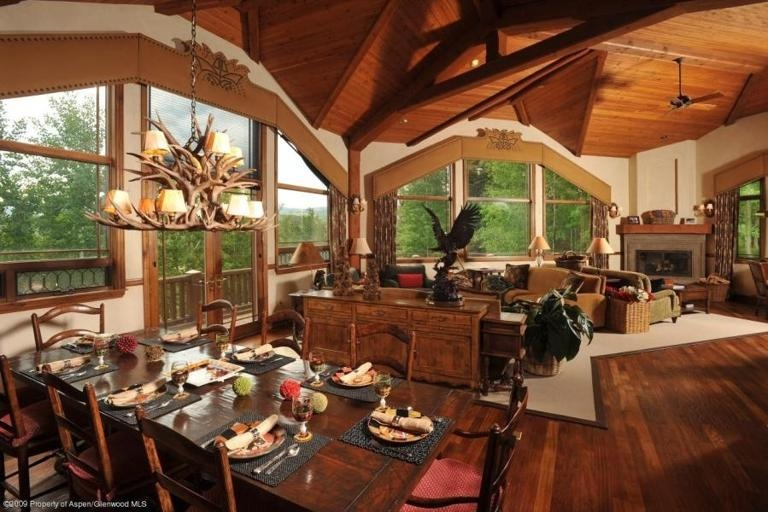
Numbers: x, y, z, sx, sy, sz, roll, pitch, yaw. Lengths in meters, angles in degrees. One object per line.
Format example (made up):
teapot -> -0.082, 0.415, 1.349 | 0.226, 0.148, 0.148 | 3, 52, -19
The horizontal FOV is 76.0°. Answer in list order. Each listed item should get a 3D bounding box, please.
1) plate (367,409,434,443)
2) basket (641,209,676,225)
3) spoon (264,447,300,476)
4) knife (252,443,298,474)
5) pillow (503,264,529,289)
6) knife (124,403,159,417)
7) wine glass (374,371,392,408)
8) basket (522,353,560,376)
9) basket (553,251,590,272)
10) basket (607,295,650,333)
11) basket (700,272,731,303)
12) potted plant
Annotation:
plate -> 0.100, 1.284, 3.673 | 0.271, 0.066, 0.269 | 0, -2, 31
basket -> 6.313, -0.897, 11.341 | 0.708, 0.371, 0.414 | -3, 1, 26
spoon -> -0.701, 1.449, 3.488 | 0.087, 0.045, 0.337 | 32, 39, 16
knife -> -0.752, 1.449, 3.481 | 0.111, 0.049, 0.372 | 27, 34, 34
pillow -> 2.591, 0.423, 9.651 | 0.189, 0.448, 0.475 | 21, -13, -39
knife -> -1.862, 1.198, 3.800 | 0.239, 0.091, 0.130 | -3, 0, -11
wine glass -> -0.006, 1.051, 3.914 | 0.125, 0.207, 0.278 | -3, 1, 0
basket -> 2.033, 1.426, 6.318 | 0.362, 0.240, 0.338 | 0, -4, -5
basket -> 3.926, 0.123, 10.313 | 0.552, 0.435, 0.691 | -1, 1, 32
basket -> 4.085, 0.971, 8.225 | 0.645, 0.438, 0.610 | 2, -3, -36
basket -> 6.979, 0.696, 10.362 | 0.617, 0.623, 0.675 | -1, -10, 15
potted plant -> 2.083, 0.863, 6.511 | 1.211, 0.855, 1.290 | -9, 7, -33
